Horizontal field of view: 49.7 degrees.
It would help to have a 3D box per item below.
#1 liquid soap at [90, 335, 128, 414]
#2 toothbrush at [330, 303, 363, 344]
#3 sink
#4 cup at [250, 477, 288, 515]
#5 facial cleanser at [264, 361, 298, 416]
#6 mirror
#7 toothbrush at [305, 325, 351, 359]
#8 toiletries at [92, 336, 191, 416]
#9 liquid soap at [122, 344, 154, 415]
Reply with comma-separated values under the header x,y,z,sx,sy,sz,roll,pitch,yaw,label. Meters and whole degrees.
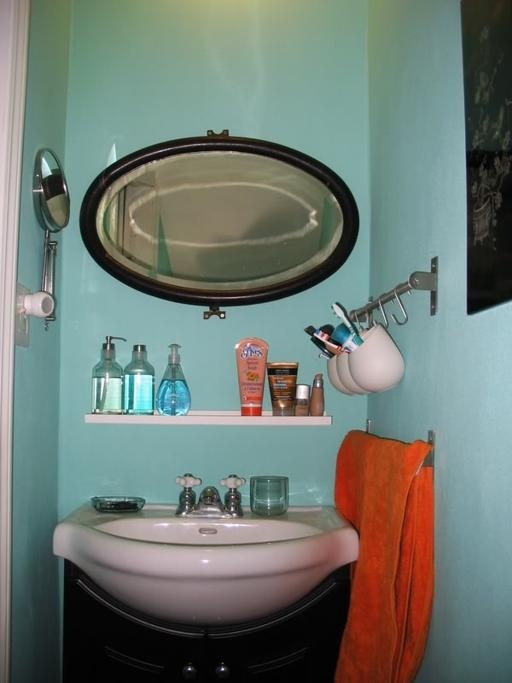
x,y,z,sx,sy,sz,roll,pitch,yaw,label
-0.335,0.085,1.255,0.059,0.200,0.063,3,2,2,liquid soap
0.181,-0.037,1.105,0.022,0.090,0.027,-34,11,-37,toothbrush
-0.101,0.502,1.152,0.594,0.273,0.426,3,-12,-6,sink
0.030,0.346,1.241,0.072,0.086,0.081,-3,-9,20,cup
0.058,0.106,1.240,0.063,0.117,0.039,0,-2,-2,facial cleanser
-0.088,-0.296,1.345,0.669,0.401,0.060,-1,-2,0,mirror
0.148,-0.003,1.083,0.042,0.041,0.120,4,7,-2,toothbrush
-0.274,0.085,1.287,0.141,0.147,0.060,0,-8,-2,toiletries
-0.271,0.094,1.282,0.057,0.172,0.066,-5,-16,9,liquid soap
